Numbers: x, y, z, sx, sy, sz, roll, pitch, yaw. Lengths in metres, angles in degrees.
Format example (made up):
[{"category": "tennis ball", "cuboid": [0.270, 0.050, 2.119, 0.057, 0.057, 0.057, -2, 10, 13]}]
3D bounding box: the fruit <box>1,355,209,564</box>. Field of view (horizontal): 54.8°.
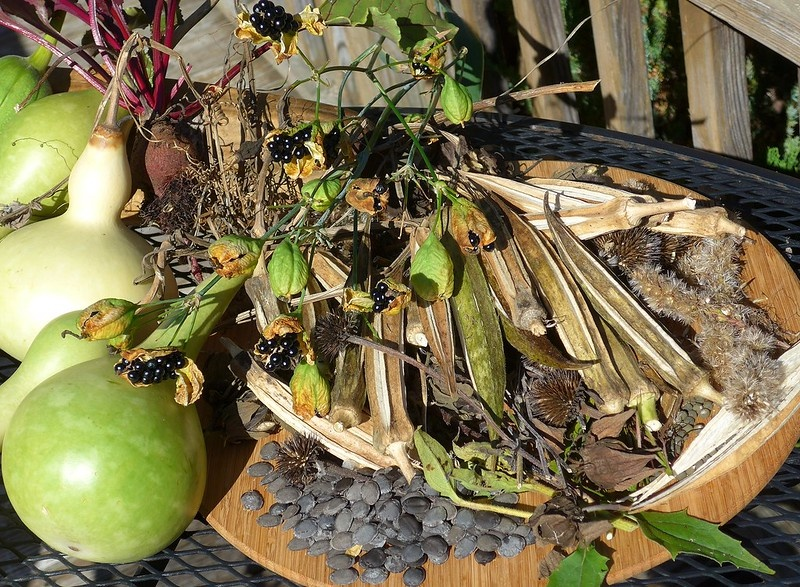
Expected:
[{"category": "fruit", "cuboid": [-0.390, 0.213, 1.018, 0.182, 0.168, 0.211, 34, 38, 9]}]
